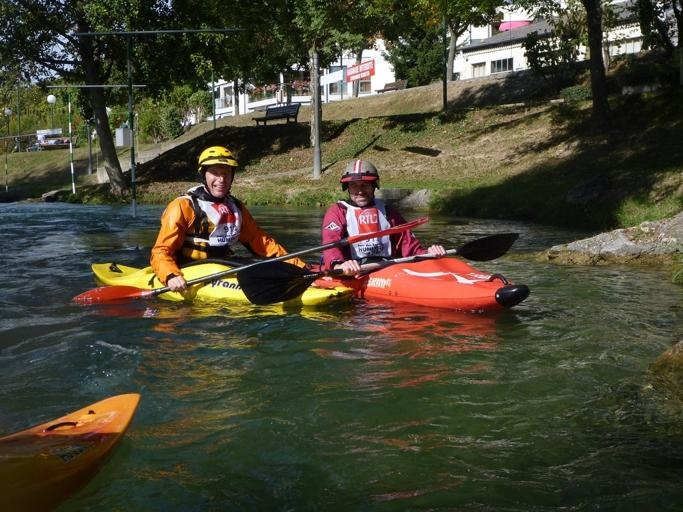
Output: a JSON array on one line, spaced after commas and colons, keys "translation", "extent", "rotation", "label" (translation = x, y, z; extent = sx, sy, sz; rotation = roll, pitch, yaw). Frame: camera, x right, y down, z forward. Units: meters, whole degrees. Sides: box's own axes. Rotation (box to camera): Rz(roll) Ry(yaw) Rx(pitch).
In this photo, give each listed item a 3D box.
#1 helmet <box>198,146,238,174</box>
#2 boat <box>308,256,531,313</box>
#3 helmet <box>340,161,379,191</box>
[{"translation": [-1.530, -1.190, 8.848], "extent": [0.502, 0.217, 0.589], "rotation": [0, -10, -25], "label": "helmet"}, {"translation": [0.826, 0.347, 8.658], "extent": [2.716, 0.342, 0.779], "rotation": [-2, 6, 30], "label": "boat"}, {"translation": [0.206, -0.998, 9.033], "extent": [0.487, 0.268, 0.473], "rotation": [0, 0, 7], "label": "helmet"}]
